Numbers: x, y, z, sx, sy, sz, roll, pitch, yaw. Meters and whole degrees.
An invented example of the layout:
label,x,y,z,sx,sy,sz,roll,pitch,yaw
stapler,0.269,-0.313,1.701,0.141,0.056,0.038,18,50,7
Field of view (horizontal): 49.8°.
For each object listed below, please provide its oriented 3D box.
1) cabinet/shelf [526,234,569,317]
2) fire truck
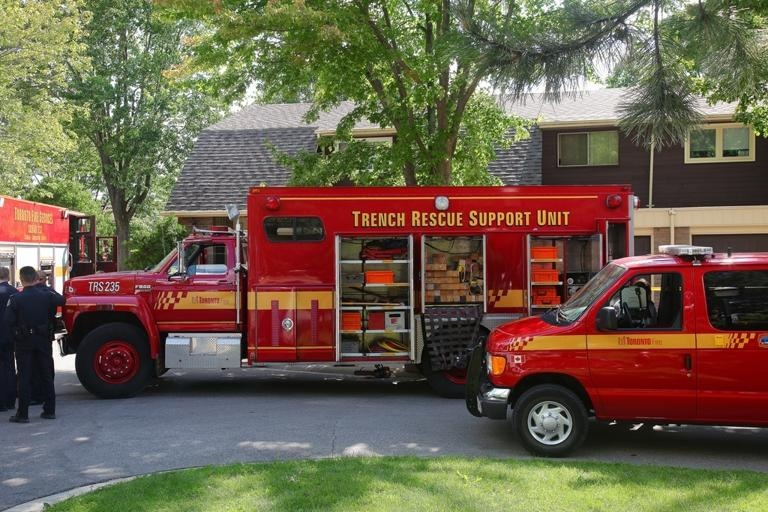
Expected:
label,x,y,z,sx,sy,sz,roll,pitch,yaw
cabinet/shelf,3.176,0.384,16.236,0.679,1.611,0.553,-2,-1,-22
fire truck,-0.430,0.800,15.966,12.547,4.749,3.510,0,-1,-2
